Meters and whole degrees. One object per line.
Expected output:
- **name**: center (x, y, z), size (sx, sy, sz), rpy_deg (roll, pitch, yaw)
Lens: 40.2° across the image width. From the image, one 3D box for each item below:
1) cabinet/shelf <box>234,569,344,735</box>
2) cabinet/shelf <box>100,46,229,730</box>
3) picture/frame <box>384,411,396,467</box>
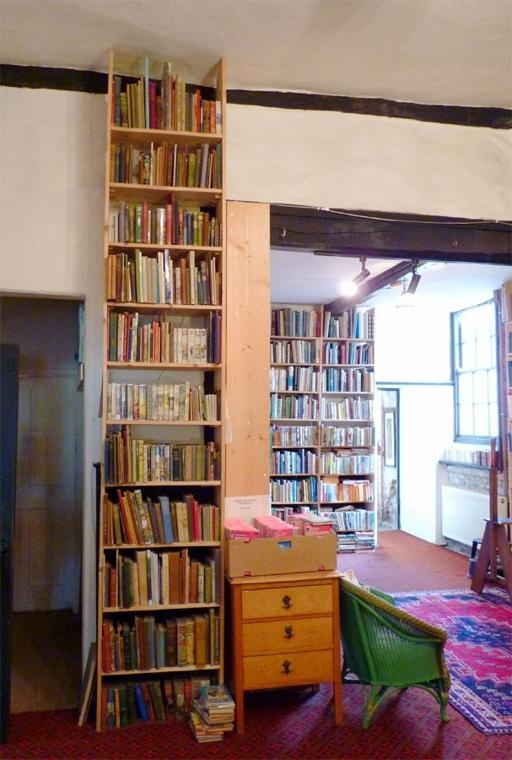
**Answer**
- **cabinet/shelf**: center (0.047, 1.348, 3.677), size (0.673, 0.886, 0.638), rpy_deg (-1, -9, -12)
- **cabinet/shelf**: center (-0.491, -0.040, 3.667), size (0.662, 3.437, 0.493), rpy_deg (0, -2, -11)
- **picture/frame**: center (1.625, 0.694, 8.374), size (0.067, 0.664, 0.206), rpy_deg (1, -2, -29)
